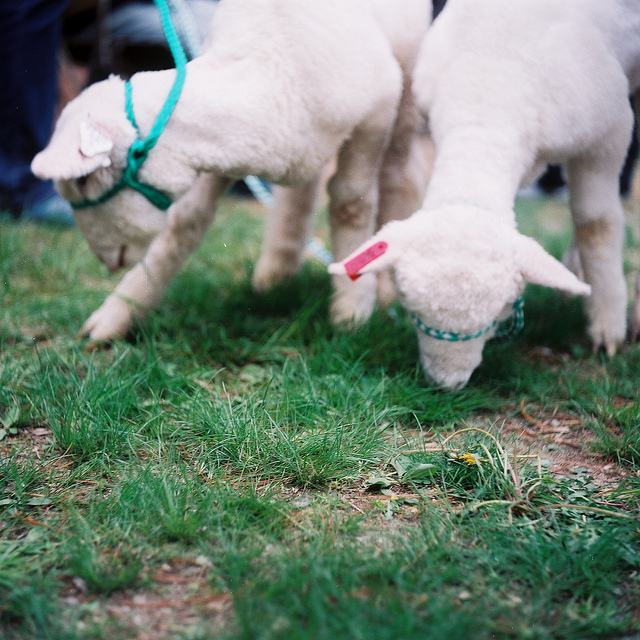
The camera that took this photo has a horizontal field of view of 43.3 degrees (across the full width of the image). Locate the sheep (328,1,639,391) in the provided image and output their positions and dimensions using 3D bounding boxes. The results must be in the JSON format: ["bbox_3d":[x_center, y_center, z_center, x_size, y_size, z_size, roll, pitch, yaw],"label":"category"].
[{"bbox_3d":[0.463,-0.383,2.392,0.330,1.145,0.583,12,6,28],"label":"sheep"}]

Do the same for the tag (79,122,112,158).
[{"bbox_3d":[-0.592,-0.469,2.083,0.083,0.055,0.077,-23,48,-31],"label":"tag"}]

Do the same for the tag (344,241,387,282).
[{"bbox_3d":[0.126,-0.149,2.173,0.117,0.030,0.066,-42,54,11],"label":"tag"}]

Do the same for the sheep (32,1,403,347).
[{"bbox_3d":[-0.300,-0.428,2.509,1.066,1.093,0.552,-7,41,-16],"label":"sheep"}]
